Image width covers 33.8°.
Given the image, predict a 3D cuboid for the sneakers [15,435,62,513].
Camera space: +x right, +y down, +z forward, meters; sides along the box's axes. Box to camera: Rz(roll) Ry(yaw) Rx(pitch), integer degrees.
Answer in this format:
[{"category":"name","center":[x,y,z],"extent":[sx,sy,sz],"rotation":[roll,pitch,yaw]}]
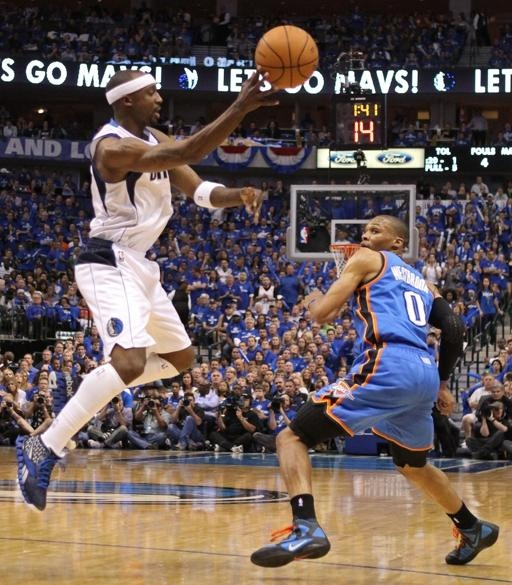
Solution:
[{"category":"sneakers","center":[-1.045,0.842,4.038],"extent":[0.228,0.384,0.143],"rotation":[-18,-16,12]}]

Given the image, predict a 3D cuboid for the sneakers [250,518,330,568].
[{"category":"sneakers","center":[0.152,1.031,3.454],"extent":[0.299,0.172,0.196],"rotation":[-2,2,13]}]

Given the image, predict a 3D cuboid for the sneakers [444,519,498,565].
[{"category":"sneakers","center":[1.053,1.210,4.069],"extent":[0.272,0.185,0.088],"rotation":[-41,17,10]}]

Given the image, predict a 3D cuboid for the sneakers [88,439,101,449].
[{"category":"sneakers","center":[-2.458,2.281,12.691],"extent":[0.251,0.072,0.104],"rotation":[8,-12,32]}]

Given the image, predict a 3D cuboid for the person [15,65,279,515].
[{"category":"person","center":[-0.631,-0.076,4.197],"extent":[1.174,2.179,0.946],"rotation":[-4,3,-24]}]

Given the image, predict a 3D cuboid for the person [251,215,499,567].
[{"category":"person","center":[0.496,0.551,3.795],"extent":[1.266,1.495,0.406],"rotation":[-4,3,-37]}]
